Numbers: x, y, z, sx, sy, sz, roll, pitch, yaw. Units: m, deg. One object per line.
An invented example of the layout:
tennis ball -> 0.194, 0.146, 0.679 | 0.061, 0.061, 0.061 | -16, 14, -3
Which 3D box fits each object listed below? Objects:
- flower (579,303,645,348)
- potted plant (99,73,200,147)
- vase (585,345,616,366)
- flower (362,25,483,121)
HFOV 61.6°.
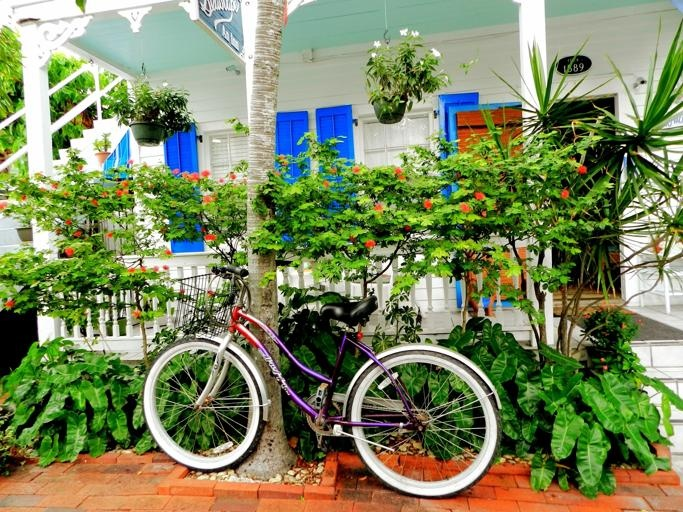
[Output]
flower -> 2.538, 0.659, 5.366 | 0.458, 0.397, 0.390 | -1, -3, 28
potted plant -> -2.486, -1.722, 7.304 | 0.943, 0.966, 0.921 | -2, 7, -15
vase -> 2.381, 0.928, 5.310 | 0.185, 0.190, 0.358 | 1, -3, -8
flower -> 0.721, -1.875, 6.167 | 0.679, 0.740, 0.620 | 17, 18, -20
